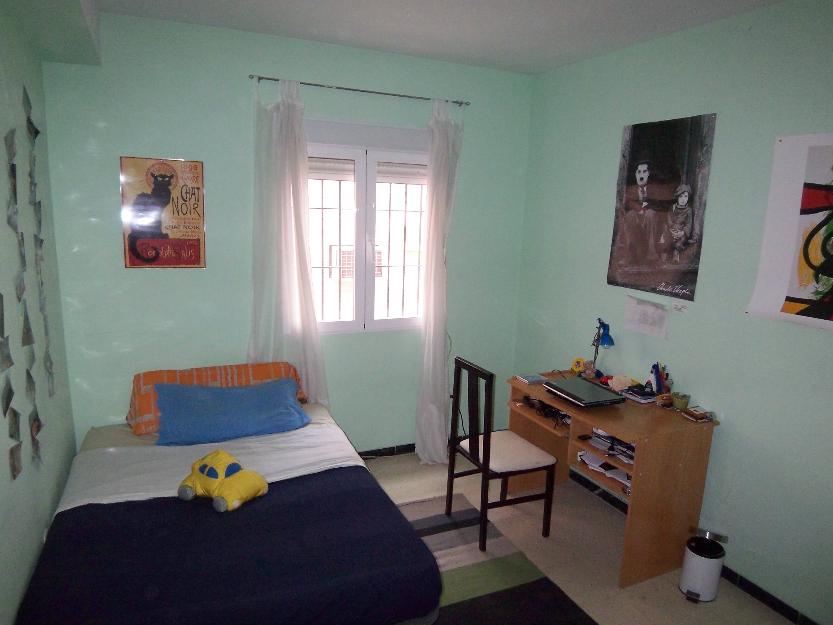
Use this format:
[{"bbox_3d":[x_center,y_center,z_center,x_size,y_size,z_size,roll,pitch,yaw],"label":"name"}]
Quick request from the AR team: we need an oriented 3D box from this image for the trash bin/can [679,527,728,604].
[{"bbox_3d":[1.696,1.527,3.633,0.191,0.334,0.262,8,20,20],"label":"trash bin/can"}]

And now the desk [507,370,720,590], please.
[{"bbox_3d":[1.234,1.024,4.241,0.675,0.964,1.271,-3,12,-27],"label":"desk"}]

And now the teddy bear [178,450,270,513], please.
[{"bbox_3d":[-1.094,0.924,3.491,0.463,0.199,0.520,9,12,-9],"label":"teddy bear"}]

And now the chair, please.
[{"bbox_3d":[0.588,1.025,4.273,0.750,1.541,0.758,-7,17,-19],"label":"chair"}]
